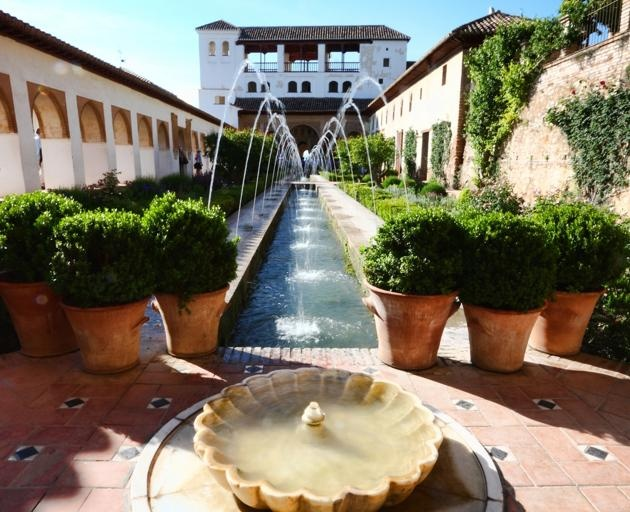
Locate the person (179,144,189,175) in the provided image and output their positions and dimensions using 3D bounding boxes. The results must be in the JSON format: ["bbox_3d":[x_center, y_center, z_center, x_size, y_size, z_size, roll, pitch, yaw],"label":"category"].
[{"bbox_3d":[-6.913,-4.991,22.265,0.453,1.361,2.005,-3,15,-16],"label":"person"}]

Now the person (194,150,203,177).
[{"bbox_3d":[-6.134,-4.862,22.236,0.360,1.216,2.176,-3,15,-16],"label":"person"}]

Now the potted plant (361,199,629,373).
[{"bbox_3d":[1.516,0.305,3.722,2.132,1.366,0.666,-1,14,-7],"label":"potted plant"}]
